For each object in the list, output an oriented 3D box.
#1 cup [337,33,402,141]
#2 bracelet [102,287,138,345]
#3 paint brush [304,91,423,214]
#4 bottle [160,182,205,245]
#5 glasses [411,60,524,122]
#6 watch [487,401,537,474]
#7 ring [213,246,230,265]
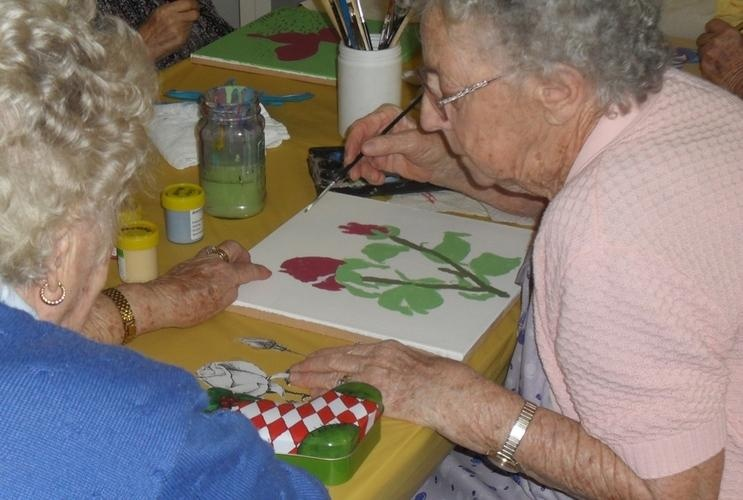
[{"bbox_3d":[0.046,-0.561,2.268,0.239,0.378,0.249,0,31,0],"label":"cup"},{"bbox_3d":[-0.533,0.142,1.460,0.025,0.098,0.101,-18,36,-19],"label":"bracelet"},{"bbox_3d":[-0.018,-0.278,2.028,0.616,0.070,0.029,-42,22,-16],"label":"paint brush"},{"bbox_3d":[-0.456,-0.097,1.763,0.133,0.143,0.135,3,34,1],"label":"bottle"},{"bbox_3d":[0.199,-0.346,1.454,0.132,0.041,0.128,-25,30,1],"label":"glasses"},{"bbox_3d":[0.290,0.380,1.399,0.068,0.111,0.120,28,3,13],"label":"watch"},{"bbox_3d":[-0.359,0.012,1.628,0.011,0.035,0.037,-45,10,-7],"label":"ring"}]
